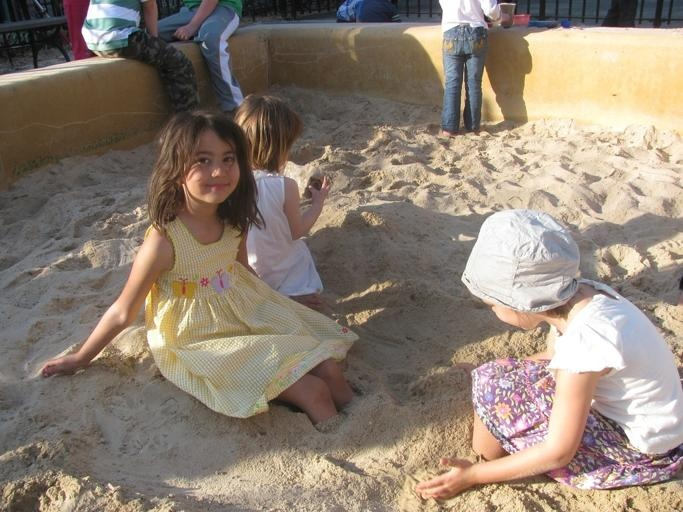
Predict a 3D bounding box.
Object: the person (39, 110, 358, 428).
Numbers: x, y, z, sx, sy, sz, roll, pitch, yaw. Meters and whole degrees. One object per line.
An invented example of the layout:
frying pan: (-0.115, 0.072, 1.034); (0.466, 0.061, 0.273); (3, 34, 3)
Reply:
person: (-0.439, -0.014, 2.740); (1.180, 1.218, 1.307); (15, 25, 27)

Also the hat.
hat: (0.617, 0.016, 2.156); (0.350, 0.214, 0.349); (-28, 40, -23)
